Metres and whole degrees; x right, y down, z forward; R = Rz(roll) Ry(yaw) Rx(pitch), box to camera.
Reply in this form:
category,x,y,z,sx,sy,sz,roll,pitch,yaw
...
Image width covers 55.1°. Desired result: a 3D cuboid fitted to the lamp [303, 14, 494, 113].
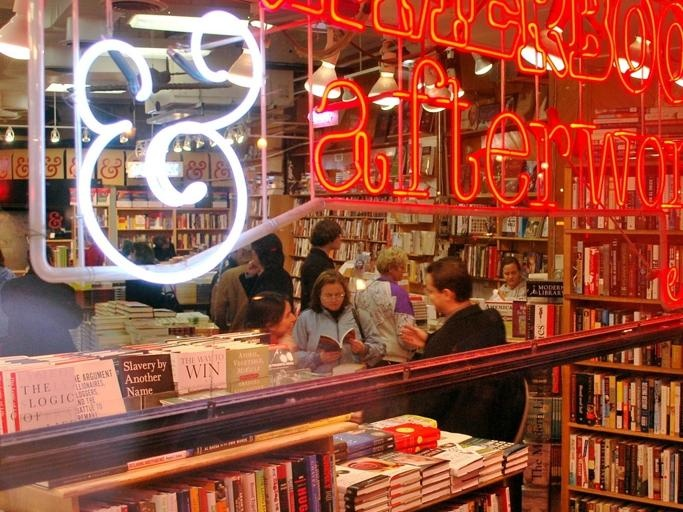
category,x,y,z,sx,sy,sz,roll,pitch,yaw
lamp,0.263,-1.381,5.275,1.392,0.548,1.423,2,3,27
